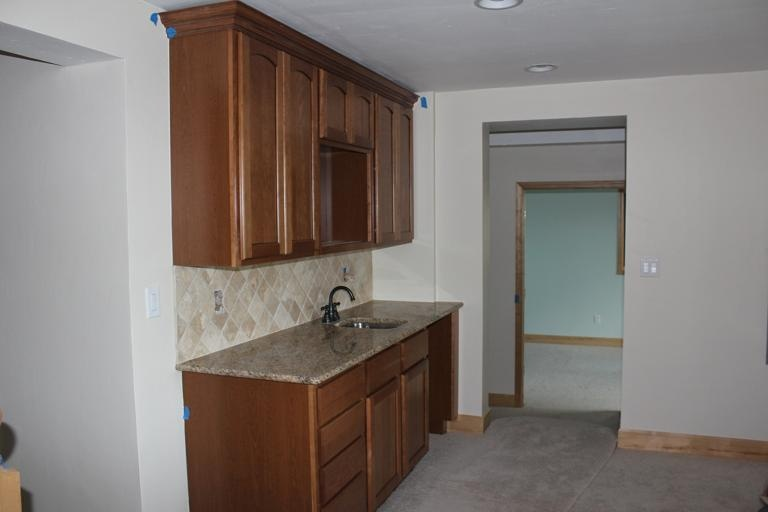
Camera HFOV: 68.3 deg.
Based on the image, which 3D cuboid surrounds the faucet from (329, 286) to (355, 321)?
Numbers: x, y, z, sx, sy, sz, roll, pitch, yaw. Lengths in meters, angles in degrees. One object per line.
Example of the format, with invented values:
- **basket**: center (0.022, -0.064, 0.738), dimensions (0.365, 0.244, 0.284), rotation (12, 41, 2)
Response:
- **faucet**: center (-0.389, 0.381, 4.627), dimensions (0.238, 0.301, 0.269), rotation (-1, 2, 16)

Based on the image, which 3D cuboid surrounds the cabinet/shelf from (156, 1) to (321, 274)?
- **cabinet/shelf**: center (-0.831, -0.706, 3.381), dimensions (0.903, 1.479, 0.444), rotation (-4, 10, -21)
